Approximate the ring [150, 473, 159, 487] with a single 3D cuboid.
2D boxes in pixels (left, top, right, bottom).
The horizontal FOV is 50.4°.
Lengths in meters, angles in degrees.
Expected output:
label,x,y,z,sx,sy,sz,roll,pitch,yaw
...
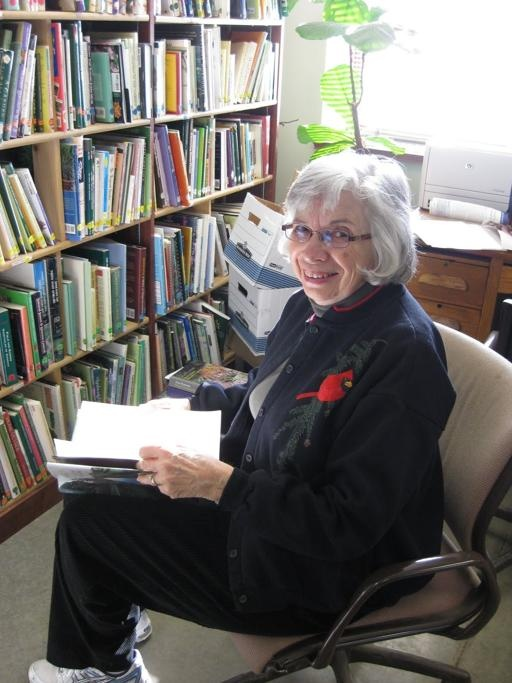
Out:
label,x,y,z,sx,sy,sz,roll,pitch,yaw
ring,-0.176,0.240,0.946,0.009,0.020,0.022,-9,48,-13
